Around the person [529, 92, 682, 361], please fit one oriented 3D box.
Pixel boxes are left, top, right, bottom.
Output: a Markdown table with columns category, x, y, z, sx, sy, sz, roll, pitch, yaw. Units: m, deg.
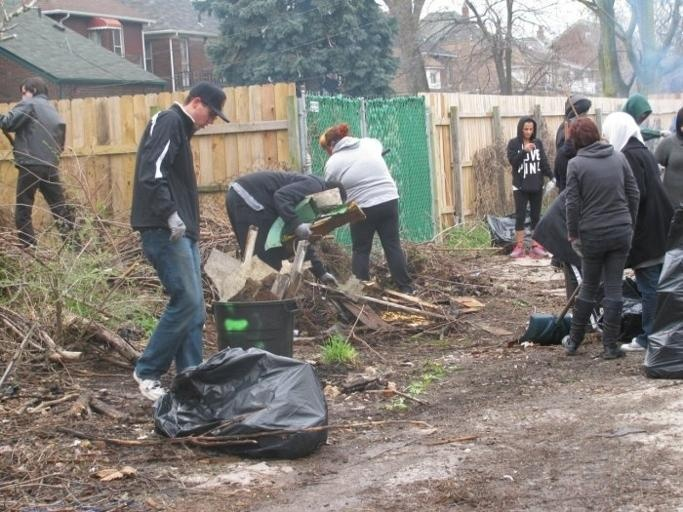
| category | x | y | z | sx | sy | sz | roll | pitch | yaw |
| --- | --- | --- | --- | --- | --- | --- | --- | --- | --- |
| person | 2.558 | -0.261 | 9.052 | 1.126 | 2.312 | 1.317 | -2 | 1 | 17 |

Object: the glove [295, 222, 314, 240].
| category | x | y | z | sx | sy | sz | roll | pitch | yaw |
| --- | --- | --- | --- | --- | --- | --- | --- | --- | --- |
| glove | -0.374 | -0.241 | 9.419 | 0.173 | 0.065 | 0.218 | 1 | 9 | -8 |

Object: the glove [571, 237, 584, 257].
| category | x | y | z | sx | sy | sz | roll | pitch | yaw |
| --- | --- | --- | --- | --- | --- | --- | --- | --- | --- |
| glove | 2.191 | -0.074 | 8.905 | 0.068 | 0.162 | 0.127 | -8 | -6 | 6 |

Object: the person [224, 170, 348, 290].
| category | x | y | z | sx | sy | sz | roll | pitch | yaw |
| --- | --- | --- | --- | --- | --- | --- | --- | --- | --- |
| person | -0.618 | -0.335 | 10.096 | 1.295 | 1.118 | 0.939 | -4 | 8 | -10 |

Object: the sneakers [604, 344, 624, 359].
| category | x | y | z | sx | sy | sz | roll | pitch | yaw |
| --- | --- | --- | --- | --- | --- | --- | --- | --- | --- |
| sneakers | 2.486 | 0.883 | 8.785 | 0.237 | 0.153 | 0.089 | -9 | 9 | -43 |

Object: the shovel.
| category | x | y | z | sx | sy | sz | roll | pitch | yaw |
| --- | --- | --- | --- | --- | --- | --- | --- | --- | --- |
| shovel | 1.994 | 0.582 | 9.406 | 0.579 | 0.682 | 0.272 | 9 | 5 | -5 |

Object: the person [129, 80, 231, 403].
| category | x | y | z | sx | sy | sz | roll | pitch | yaw |
| --- | --- | --- | --- | --- | --- | --- | --- | --- | --- |
| person | -1.381 | -0.130 | 8.112 | 0.719 | 2.247 | 0.501 | -3 | 1 | -33 |

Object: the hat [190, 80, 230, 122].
| category | x | y | z | sx | sy | sz | roll | pitch | yaw |
| --- | --- | --- | --- | --- | --- | --- | --- | --- | --- |
| hat | -1.131 | -1.322 | 8.235 | 0.402 | 0.194 | 0.267 | 27 | 15 | -10 |

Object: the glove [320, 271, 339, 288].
| category | x | y | z | sx | sy | sz | roll | pitch | yaw |
| --- | --- | --- | --- | --- | --- | --- | --- | --- | --- |
| glove | -0.131 | 0.266 | 10.095 | 0.136 | 0.070 | 0.191 | 17 | -17 | 38 |

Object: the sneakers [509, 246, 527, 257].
| category | x | y | z | sx | sy | sz | roll | pitch | yaw |
| --- | --- | --- | --- | --- | --- | --- | --- | --- | --- |
| sneakers | 2.585 | -0.051 | 13.986 | 0.199 | 0.165 | 0.355 | -2 | 0 | 23 |

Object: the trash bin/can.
| category | x | y | z | sx | sy | sz | roll | pitch | yaw |
| --- | --- | --- | --- | --- | --- | --- | --- | --- | --- |
| trash bin/can | -0.790 | 0.712 | 8.740 | 0.788 | 0.553 | 0.720 | -3 | -2 | 28 |

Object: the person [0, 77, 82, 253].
| category | x | y | z | sx | sy | sz | roll | pitch | yaw |
| --- | --- | --- | --- | --- | --- | --- | --- | --- | --- |
| person | -3.433 | -1.125 | 10.700 | 0.744 | 1.733 | 1.435 | -3 | 1 | -16 |

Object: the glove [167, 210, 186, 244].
| category | x | y | z | sx | sy | sz | roll | pitch | yaw |
| --- | --- | --- | --- | --- | --- | --- | --- | --- | --- |
| glove | -1.377 | -0.257 | 7.975 | 0.164 | 0.205 | 0.069 | -3 | -1 | 38 |

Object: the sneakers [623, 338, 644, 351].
| category | x | y | z | sx | sy | sz | roll | pitch | yaw |
| --- | --- | --- | --- | --- | --- | --- | --- | --- | --- |
| sneakers | 2.721 | 0.838 | 8.949 | 0.200 | 0.086 | 0.095 | 1 | -1 | 8 |
